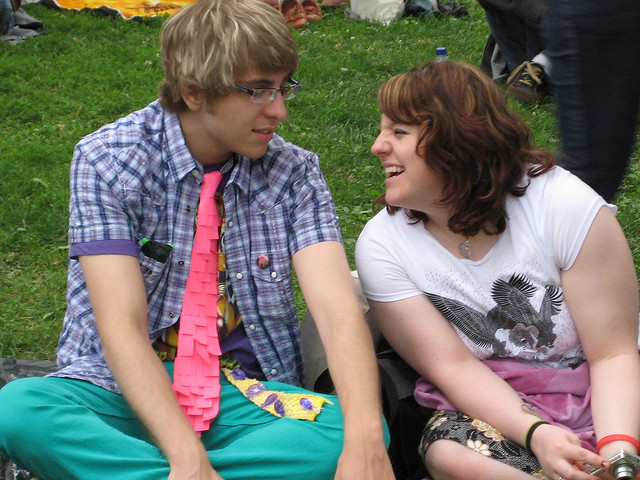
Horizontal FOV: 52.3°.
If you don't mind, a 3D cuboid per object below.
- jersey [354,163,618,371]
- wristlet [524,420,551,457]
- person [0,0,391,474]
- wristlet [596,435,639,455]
[{"bbox_3d":[0.676,0.121,2.585,0.767,0.625,0.383,-32,-6,4],"label":"jersey"},{"bbox_3d":[0.773,0.710,2.333,0.080,0.127,0.040,-16,22,-29],"label":"wristlet"},{"bbox_3d":[-0.488,-0.025,2.517,1.345,1.753,1.086,-4,18,3],"label":"person"},{"bbox_3d":[1.056,0.717,2.303,0.100,0.091,0.021,-9,55,24],"label":"wristlet"}]
